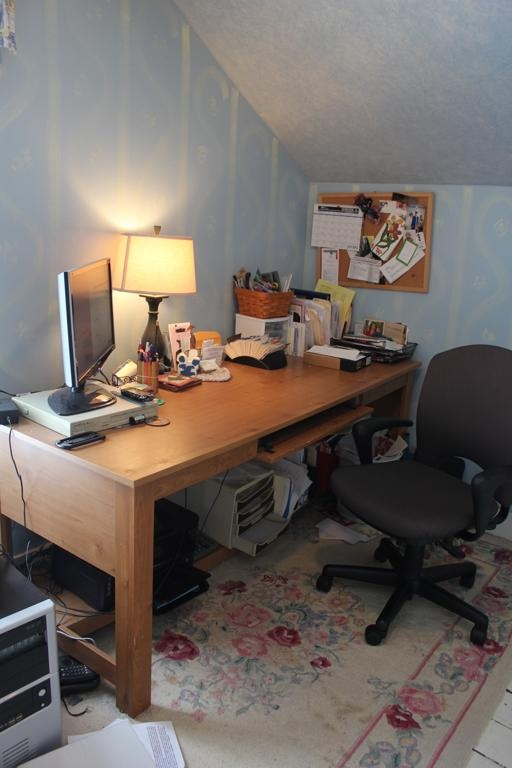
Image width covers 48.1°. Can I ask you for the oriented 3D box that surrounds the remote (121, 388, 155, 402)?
[{"bbox_3d":[-0.351,0.032,1.700,0.079,0.019,0.049,15,16,31],"label":"remote"}]

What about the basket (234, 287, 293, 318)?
[{"bbox_3d":[0.027,-0.352,2.529,0.253,0.125,0.175,3,12,-2],"label":"basket"}]

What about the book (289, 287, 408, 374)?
[{"bbox_3d":[0.403,-0.247,2.665,0.460,0.305,0.433,14,19,34],"label":"book"}]

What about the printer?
[{"bbox_3d":[-0.401,0.545,1.778,0.419,0.267,0.316,23,30,23],"label":"printer"}]

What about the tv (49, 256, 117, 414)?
[{"bbox_3d":[-0.502,-0.139,1.633,0.176,0.366,0.329,9,33,-1],"label":"tv"}]
